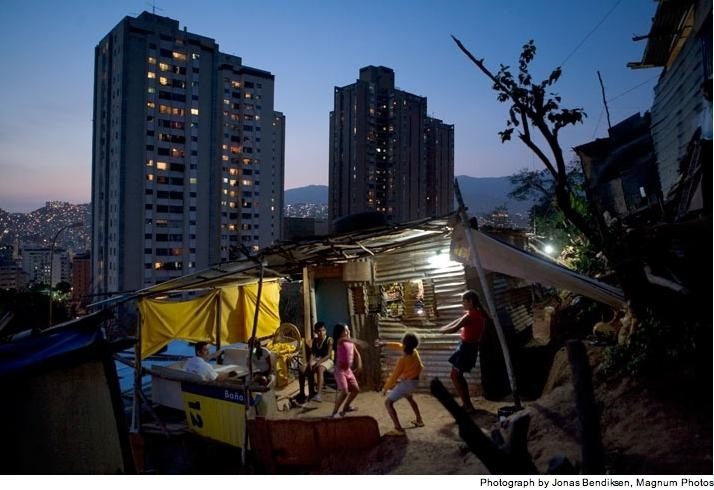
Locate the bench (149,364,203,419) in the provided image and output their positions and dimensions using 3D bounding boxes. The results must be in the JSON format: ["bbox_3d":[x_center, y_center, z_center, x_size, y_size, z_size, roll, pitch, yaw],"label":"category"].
[{"bbox_3d":[-4.612,3.586,12.662,1.241,1.129,1.244,-1,2,-9],"label":"bench"}]

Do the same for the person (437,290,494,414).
[{"bbox_3d":[2.642,2.529,12.147,0.930,2.900,1.338,-2,3,16],"label":"person"}]

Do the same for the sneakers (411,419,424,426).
[{"bbox_3d":[1.394,4.122,11.515,0.108,0.124,0.304,0,2,-38],"label":"sneakers"}]

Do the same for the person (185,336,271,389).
[{"bbox_3d":[-3.297,3.118,12.506,1.752,0.919,1.350,1,-2,-18],"label":"person"}]
